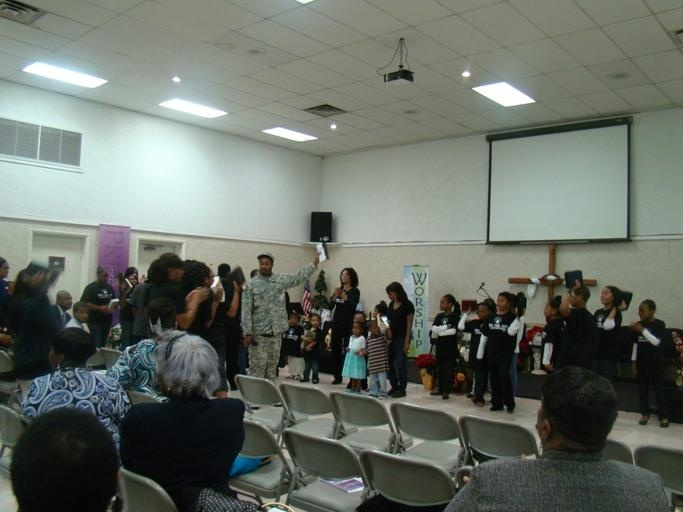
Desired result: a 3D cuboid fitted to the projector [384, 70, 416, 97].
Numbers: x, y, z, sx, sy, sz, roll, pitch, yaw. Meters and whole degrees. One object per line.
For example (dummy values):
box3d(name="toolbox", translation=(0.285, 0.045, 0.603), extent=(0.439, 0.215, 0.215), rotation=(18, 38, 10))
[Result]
box3d(name="projector", translation=(0.883, -2.637, 7.868), extent=(0.445, 0.278, 0.447), rotation=(9, -7, -33))

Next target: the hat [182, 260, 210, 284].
box3d(name="hat", translation=(-1.398, 0.161, 4.931), extent=(0.189, 0.240, 0.238), rotation=(2, 2, 14))
